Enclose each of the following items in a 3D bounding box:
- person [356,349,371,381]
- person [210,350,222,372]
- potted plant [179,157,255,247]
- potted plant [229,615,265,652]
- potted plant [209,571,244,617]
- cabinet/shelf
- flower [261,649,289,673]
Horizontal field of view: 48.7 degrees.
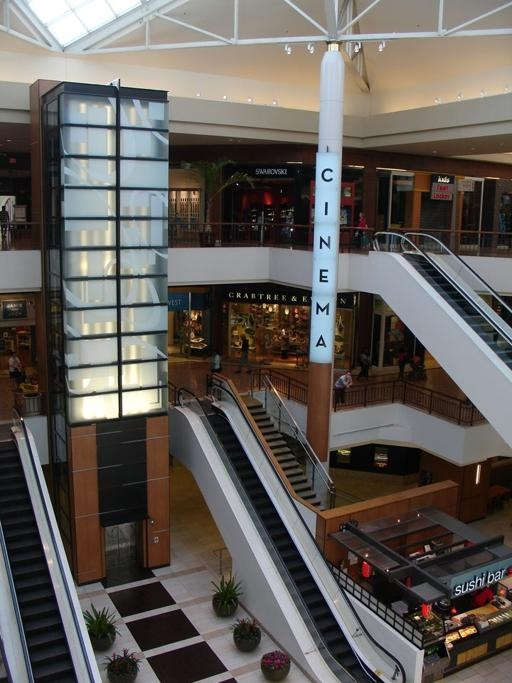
[{"bbox_3d":[4.131,0.896,21.709,0.391,1.027,0.894,4,5,9],"label":"person"},{"bbox_3d":[-1.485,0.798,21.285,0.289,0.885,0.844,2,5,-7],"label":"person"},{"bbox_3d":[-2.081,-5.637,22.535,2.749,3.333,2.638,16,20,40],"label":"potted plant"},{"bbox_3d":[-0.209,6.224,12.099,0.565,0.590,0.575,-11,17,-42],"label":"potted plant"},{"bbox_3d":[-0.790,5.993,13.580,0.847,0.882,0.825,1,6,-29],"label":"potted plant"},{"bbox_3d":[3.292,-5.729,24.327,1.959,3.338,1.108,4,51,8],"label":"cabinet/shelf"},{"bbox_3d":[0.375,6.187,11.006,0.371,0.337,0.396,6,12,19],"label":"flower"}]
